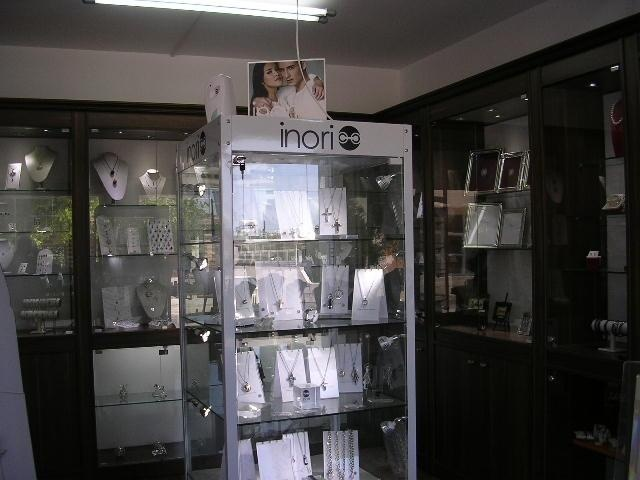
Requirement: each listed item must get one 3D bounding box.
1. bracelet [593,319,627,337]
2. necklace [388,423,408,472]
[{"bbox_3d":[1.762,0.534,3.188,0.044,0.096,0.211,-1,-1,-33],"label":"bracelet"},{"bbox_3d":[0.457,1.185,2.982,0.086,0.323,0.050,-1,-1,8],"label":"necklace"}]
